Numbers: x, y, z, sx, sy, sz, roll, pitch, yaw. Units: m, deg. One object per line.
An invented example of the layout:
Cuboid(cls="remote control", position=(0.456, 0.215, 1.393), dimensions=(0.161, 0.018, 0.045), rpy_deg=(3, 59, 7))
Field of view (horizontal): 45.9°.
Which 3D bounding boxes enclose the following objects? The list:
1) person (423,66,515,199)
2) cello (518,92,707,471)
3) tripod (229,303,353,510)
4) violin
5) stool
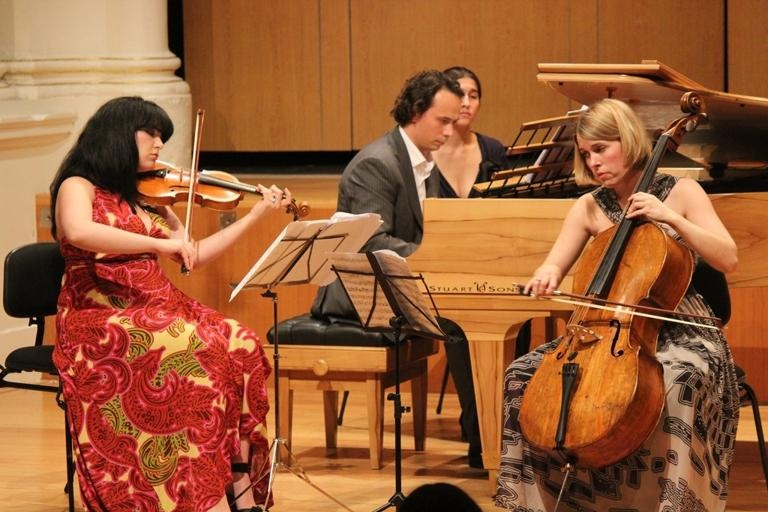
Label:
Cuboid(cls="person", position=(0.494, -0.625, 5.256), dimensions=(0.445, 0.791, 0.383), rpy_deg=(6, 28, 5))
Cuboid(cls="cello", position=(0.882, 0.323, 3.462), dimensions=(0.588, 0.948, 0.653), rpy_deg=(8, 13, 30))
Cuboid(cls="tripod", position=(-0.470, 0.658, 4.137), dimensions=(0.490, 0.906, 0.477), rpy_deg=(16, 20, 43))
Cuboid(cls="violin", position=(-0.698, -0.289, 4.000), dimensions=(0.719, 0.119, 0.290), rpy_deg=(13, 12, -13))
Cuboid(cls="stool", position=(-0.147, 0.594, 4.614), dimensions=(0.861, 0.720, 0.724), rpy_deg=(-1, -5, 14))
